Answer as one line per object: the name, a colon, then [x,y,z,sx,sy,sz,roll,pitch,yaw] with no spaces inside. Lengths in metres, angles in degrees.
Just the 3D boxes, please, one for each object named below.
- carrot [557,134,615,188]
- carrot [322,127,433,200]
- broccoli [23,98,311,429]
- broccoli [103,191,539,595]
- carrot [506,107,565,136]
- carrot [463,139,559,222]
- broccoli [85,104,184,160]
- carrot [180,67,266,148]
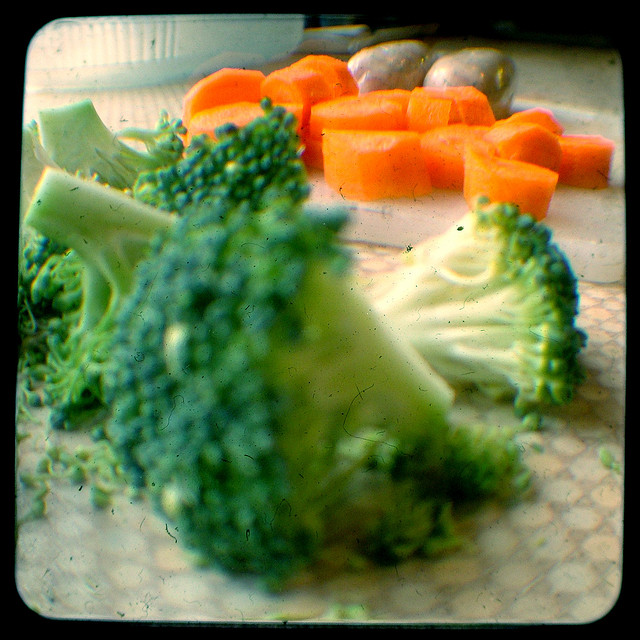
carrot: [0.339,-0.210,1.241,0.085,0.066,0.048,11,35,26]
carrot: [0.068,-0.188,1.173,0.131,0.072,0.085,15,35,18]
broccoli: [-0.301,-0.132,1.283,0.483,0.183,0.345,10,76,55]
broccoli: [0.011,0.087,1.284,0.468,0.415,0.229,34,14,-7]
carrot: [0.290,-0.264,1.261,0.046,0.020,0.049,15,45,24]
carrot: [0.231,-0.175,1.175,0.090,0.046,0.098,9,33,22]
broccoli: [-0.232,-0.237,1.220,0.131,0.078,0.077,7,86,-24]
carrot: [-0.117,-0.282,1.274,0.130,0.139,0.038,-9,87,14]
